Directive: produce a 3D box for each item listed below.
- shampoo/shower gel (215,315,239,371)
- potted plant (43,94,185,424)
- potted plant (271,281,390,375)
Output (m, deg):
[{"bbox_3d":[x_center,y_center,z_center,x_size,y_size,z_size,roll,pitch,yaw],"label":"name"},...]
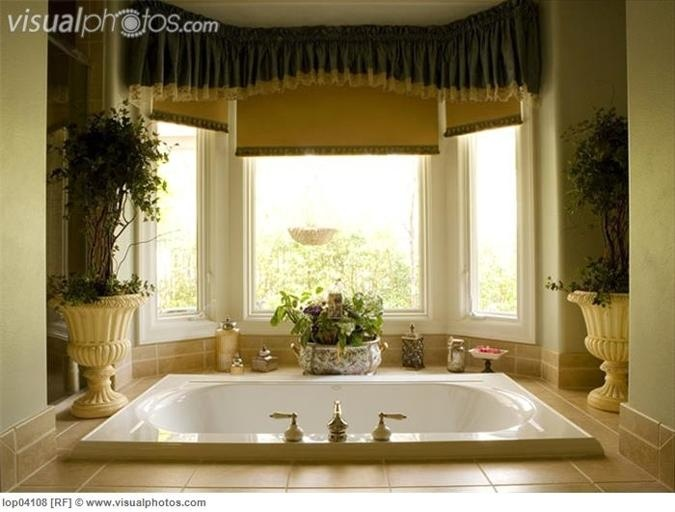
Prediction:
[{"bbox_3d":[-0.818,0.662,4.037,0.173,0.370,0.138,0,10,4],"label":"shampoo/shower gel"},{"bbox_3d":[-1.446,-0.026,3.486,0.832,1.884,0.809,-9,13,-39],"label":"potted plant"},{"bbox_3d":[-0.045,0.622,4.014,0.789,0.568,0.692,-4,4,-13],"label":"potted plant"}]
